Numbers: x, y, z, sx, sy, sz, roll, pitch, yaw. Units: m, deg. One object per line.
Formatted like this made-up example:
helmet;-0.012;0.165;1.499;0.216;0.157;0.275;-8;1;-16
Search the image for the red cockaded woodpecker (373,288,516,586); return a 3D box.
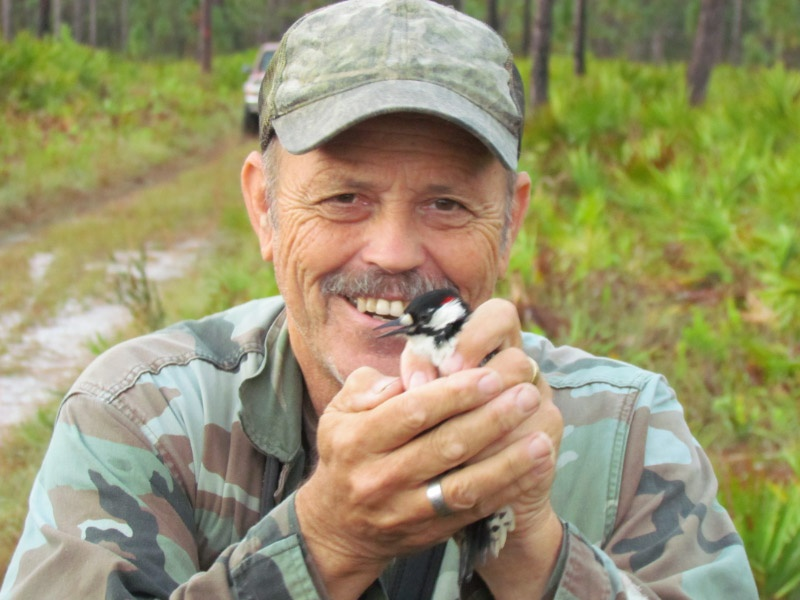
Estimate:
red cockaded woodpecker;0.212;0.648;4.444;0.543;1.154;0.425;-4;-2;-5
